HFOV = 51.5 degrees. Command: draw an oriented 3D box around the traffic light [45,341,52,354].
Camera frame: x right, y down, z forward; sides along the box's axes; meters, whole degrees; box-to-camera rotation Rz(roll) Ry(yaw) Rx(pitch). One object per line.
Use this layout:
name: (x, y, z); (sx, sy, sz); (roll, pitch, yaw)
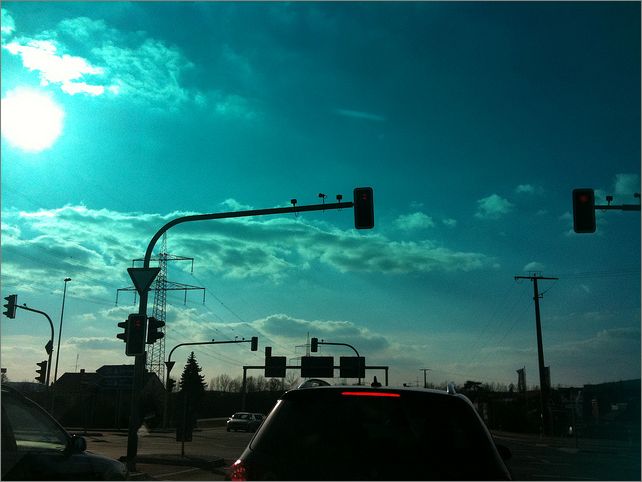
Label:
traffic light: (-15.205, 5.955, 37.249); (0.285, 0.845, 1.485); (6, -16, -22)

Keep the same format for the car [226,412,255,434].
car: (-5.287, 12.193, 43.982); (1.635, 1.288, 2.746); (1, -9, 0)

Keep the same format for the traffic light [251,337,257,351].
traffic light: (-3.707, 5.793, 37.301); (0.265, 0.827, 1.295); (3, -15, -10)

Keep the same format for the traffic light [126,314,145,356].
traffic light: (-4.417, 2.251, 15.896); (0.445, 1.020, 0.304); (5, -15, -19)

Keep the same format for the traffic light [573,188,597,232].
traffic light: (7.321, -0.830, 18.470); (0.687, 1.258, 0.181); (1, -14, -2)

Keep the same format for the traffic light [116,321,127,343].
traffic light: (-4.710, 2.138, 15.856); (0.220, 0.511, 0.602); (4, -15, -16)

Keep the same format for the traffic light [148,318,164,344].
traffic light: (-3.969, 2.164, 15.957); (0.358, 0.634, 0.462); (4, -15, -15)
